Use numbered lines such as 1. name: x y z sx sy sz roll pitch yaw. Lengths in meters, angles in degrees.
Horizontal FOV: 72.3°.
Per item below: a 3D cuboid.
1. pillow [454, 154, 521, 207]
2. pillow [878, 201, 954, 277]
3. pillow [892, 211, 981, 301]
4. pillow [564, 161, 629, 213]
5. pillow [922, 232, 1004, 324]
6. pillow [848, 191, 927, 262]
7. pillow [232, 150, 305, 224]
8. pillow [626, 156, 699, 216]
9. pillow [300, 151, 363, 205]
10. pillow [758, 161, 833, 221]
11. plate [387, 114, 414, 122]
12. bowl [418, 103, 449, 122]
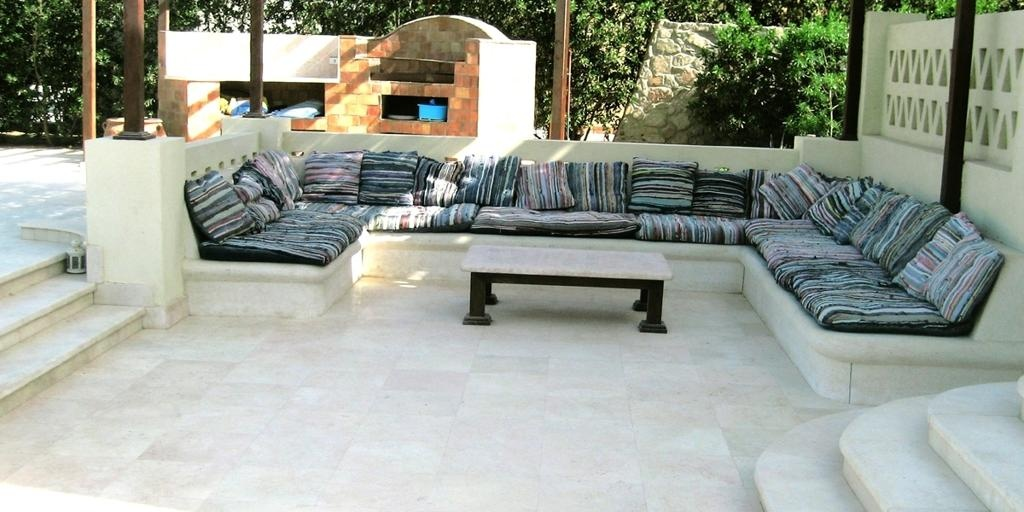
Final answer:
1. pillow: -0.302 -0.994 9.057 0.864 0.652 0.223 4 -19 6
2. pillow: 3.992 -0.182 6.983 0.219 0.716 0.744 32 17 -14
3. pillow: 4.004 -0.032 6.624 0.308 0.813 0.730 30 13 -28
4. pillow: 1.147 -0.967 9.243 0.895 0.197 0.788 -3 -24 14
5. pillow: 4.022 0.211 6.222 0.246 0.707 0.751 36 -32 -11
6. pillow: 3.951 -0.364 7.461 0.270 0.735 0.770 37 10 -1
7. pillow: -3.166 -0.880 8.663 0.293 0.712 0.833 -18 6 30
8. pillow: 2.001 -0.910 9.015 0.933 0.658 0.339 9 13 33
9. pillow: -2.293 -0.990 9.007 0.837 0.626 0.388 4 -12 8
10. pillow: 3.662 -0.887 8.989 0.822 0.205 0.721 24 16 6
11. plate: -2.106 -2.622 13.166 0.528 0.081 0.870 -6 16 -17
12. bowl: -1.431 -2.641 12.792 0.454 0.209 0.395 2 11 9
